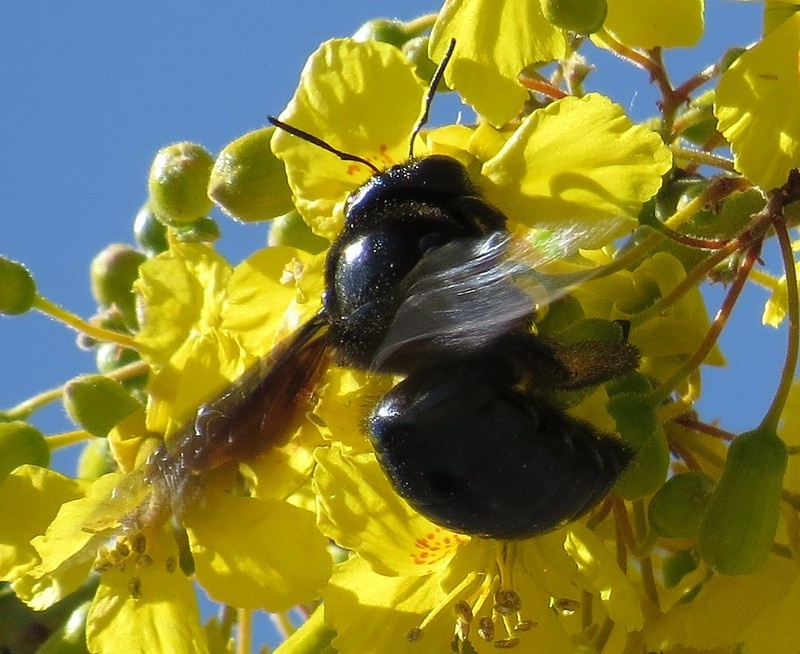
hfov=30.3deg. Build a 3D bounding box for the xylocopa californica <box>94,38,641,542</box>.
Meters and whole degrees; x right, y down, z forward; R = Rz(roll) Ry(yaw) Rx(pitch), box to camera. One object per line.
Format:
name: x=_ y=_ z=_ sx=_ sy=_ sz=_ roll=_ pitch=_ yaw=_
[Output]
xylocopa californica: x=0.067 y=-0.009 z=1.173 sx=0.236 sy=0.397 sz=0.533 roll=-12 pitch=26 yaw=11
